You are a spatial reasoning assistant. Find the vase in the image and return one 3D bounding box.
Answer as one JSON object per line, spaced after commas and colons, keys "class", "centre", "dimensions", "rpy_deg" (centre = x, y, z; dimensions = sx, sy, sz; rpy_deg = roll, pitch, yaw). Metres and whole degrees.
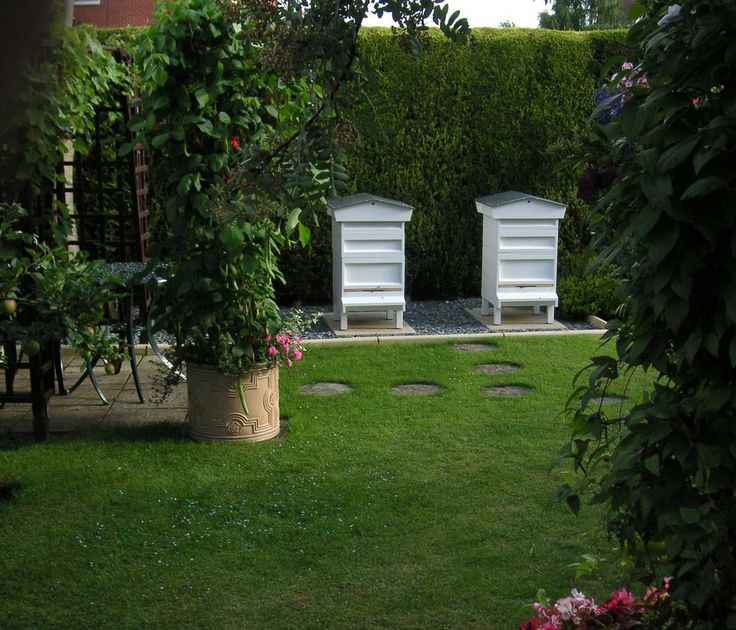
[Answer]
{"class": "vase", "centre": [-0.918, 0.540, 5.274], "dimensions": [0.484, 0.434, 0.533], "rpy_deg": [2, 4, 14]}
